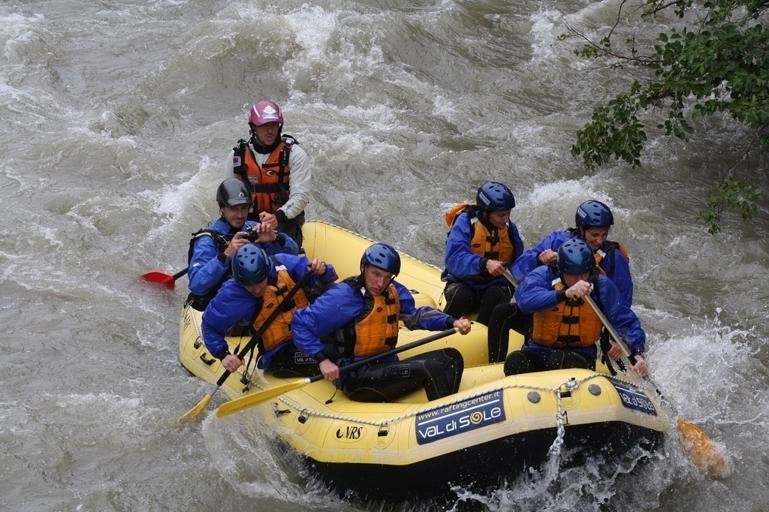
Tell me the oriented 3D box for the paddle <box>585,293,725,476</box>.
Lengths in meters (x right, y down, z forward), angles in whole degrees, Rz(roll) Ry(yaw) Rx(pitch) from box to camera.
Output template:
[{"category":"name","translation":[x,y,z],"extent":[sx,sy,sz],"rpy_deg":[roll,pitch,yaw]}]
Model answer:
[{"category":"paddle","translation":[3.113,1.546,10.727],"extent":[0.311,0.277,2.275],"rpy_deg":[-36,87,-8]}]

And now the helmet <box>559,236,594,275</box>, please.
[{"category":"helmet","translation":[2.108,0.036,10.251],"extent":[0.287,0.207,0.417],"rpy_deg":[-5,37,6]}]

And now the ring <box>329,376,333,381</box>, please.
[{"category":"ring","translation":[-0.590,1.346,10.351],"extent":[0.046,0.047,0.018],"rpy_deg":[-2,59,-2]}]

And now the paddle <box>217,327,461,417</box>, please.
[{"category":"paddle","translation":[-0.451,1.325,10.598],"extent":[2.550,0.122,0.352],"rpy_deg":[-19,66,2]}]

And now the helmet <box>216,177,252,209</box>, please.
[{"category":"helmet","translation":[-1.839,-0.755,11.273],"extent":[0.396,0.212,0.368],"rpy_deg":[-13,71,-7]}]

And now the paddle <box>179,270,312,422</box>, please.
[{"category":"paddle","translation":[-1.559,1.063,10.864],"extent":[2.264,0.153,0.344],"rpy_deg":[-47,47,14]}]

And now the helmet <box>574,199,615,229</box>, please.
[{"category":"helmet","translation":[2.453,-0.476,10.921],"extent":[0.279,0.309,0.402],"rpy_deg":[-1,18,-14]}]

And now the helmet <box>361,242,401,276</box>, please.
[{"category":"helmet","translation":[-0.027,0.020,10.329],"extent":[0.331,0.294,0.416],"rpy_deg":[29,103,62]}]

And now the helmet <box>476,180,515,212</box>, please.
[{"category":"helmet","translation":[1.339,-0.691,11.262],"extent":[0.415,0.278,0.315],"rpy_deg":[-9,38,31]}]

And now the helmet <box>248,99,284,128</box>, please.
[{"category":"helmet","translation":[-1.549,-1.808,11.945],"extent":[0.409,0.270,0.382],"rpy_deg":[-18,72,-9]}]

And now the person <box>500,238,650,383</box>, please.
[{"category":"person","translation":[2.099,0.642,10.577],"extent":[1.250,1.609,0.853],"rpy_deg":[5,24,7]}]

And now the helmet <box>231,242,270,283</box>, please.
[{"category":"helmet","translation":[-1.518,0.073,10.465],"extent":[0.340,0.448,0.318],"rpy_deg":[-8,56,0]}]
